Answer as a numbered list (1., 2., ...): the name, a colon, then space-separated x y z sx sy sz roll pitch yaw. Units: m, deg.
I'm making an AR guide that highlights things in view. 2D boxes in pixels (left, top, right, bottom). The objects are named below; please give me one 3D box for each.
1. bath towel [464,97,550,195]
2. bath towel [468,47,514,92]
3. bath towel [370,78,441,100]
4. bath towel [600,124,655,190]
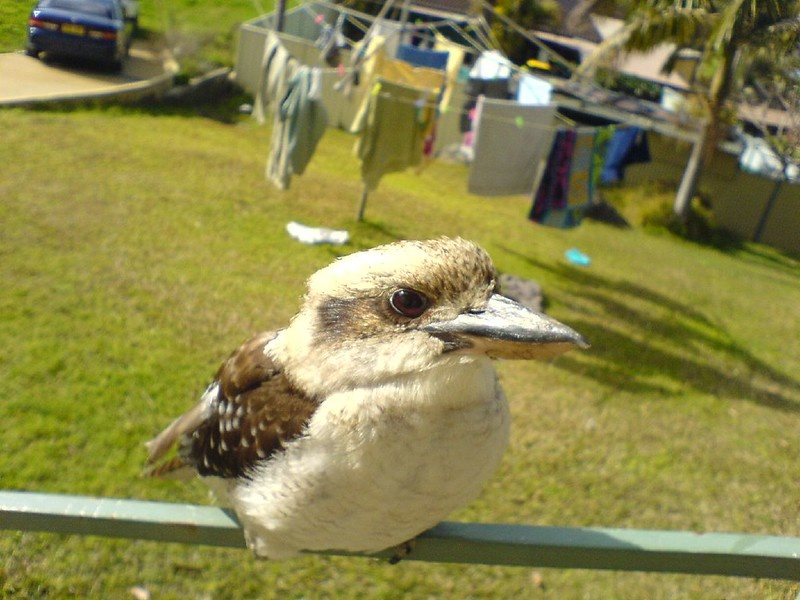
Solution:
1. bath towel: 1.046 -1.403 7.157 0.755 0.922 0.651 4 14 1
2. bath towel: 0.905 -2.261 7.412 0.419 0.337 0.508 8 16 13
3. bath towel: 0.081 -1.903 6.882 0.666 0.166 0.122 -3 16 -26
4. bath towel: 2.086 -1.386 7.251 0.393 0.467 0.132 -9 33 -20
